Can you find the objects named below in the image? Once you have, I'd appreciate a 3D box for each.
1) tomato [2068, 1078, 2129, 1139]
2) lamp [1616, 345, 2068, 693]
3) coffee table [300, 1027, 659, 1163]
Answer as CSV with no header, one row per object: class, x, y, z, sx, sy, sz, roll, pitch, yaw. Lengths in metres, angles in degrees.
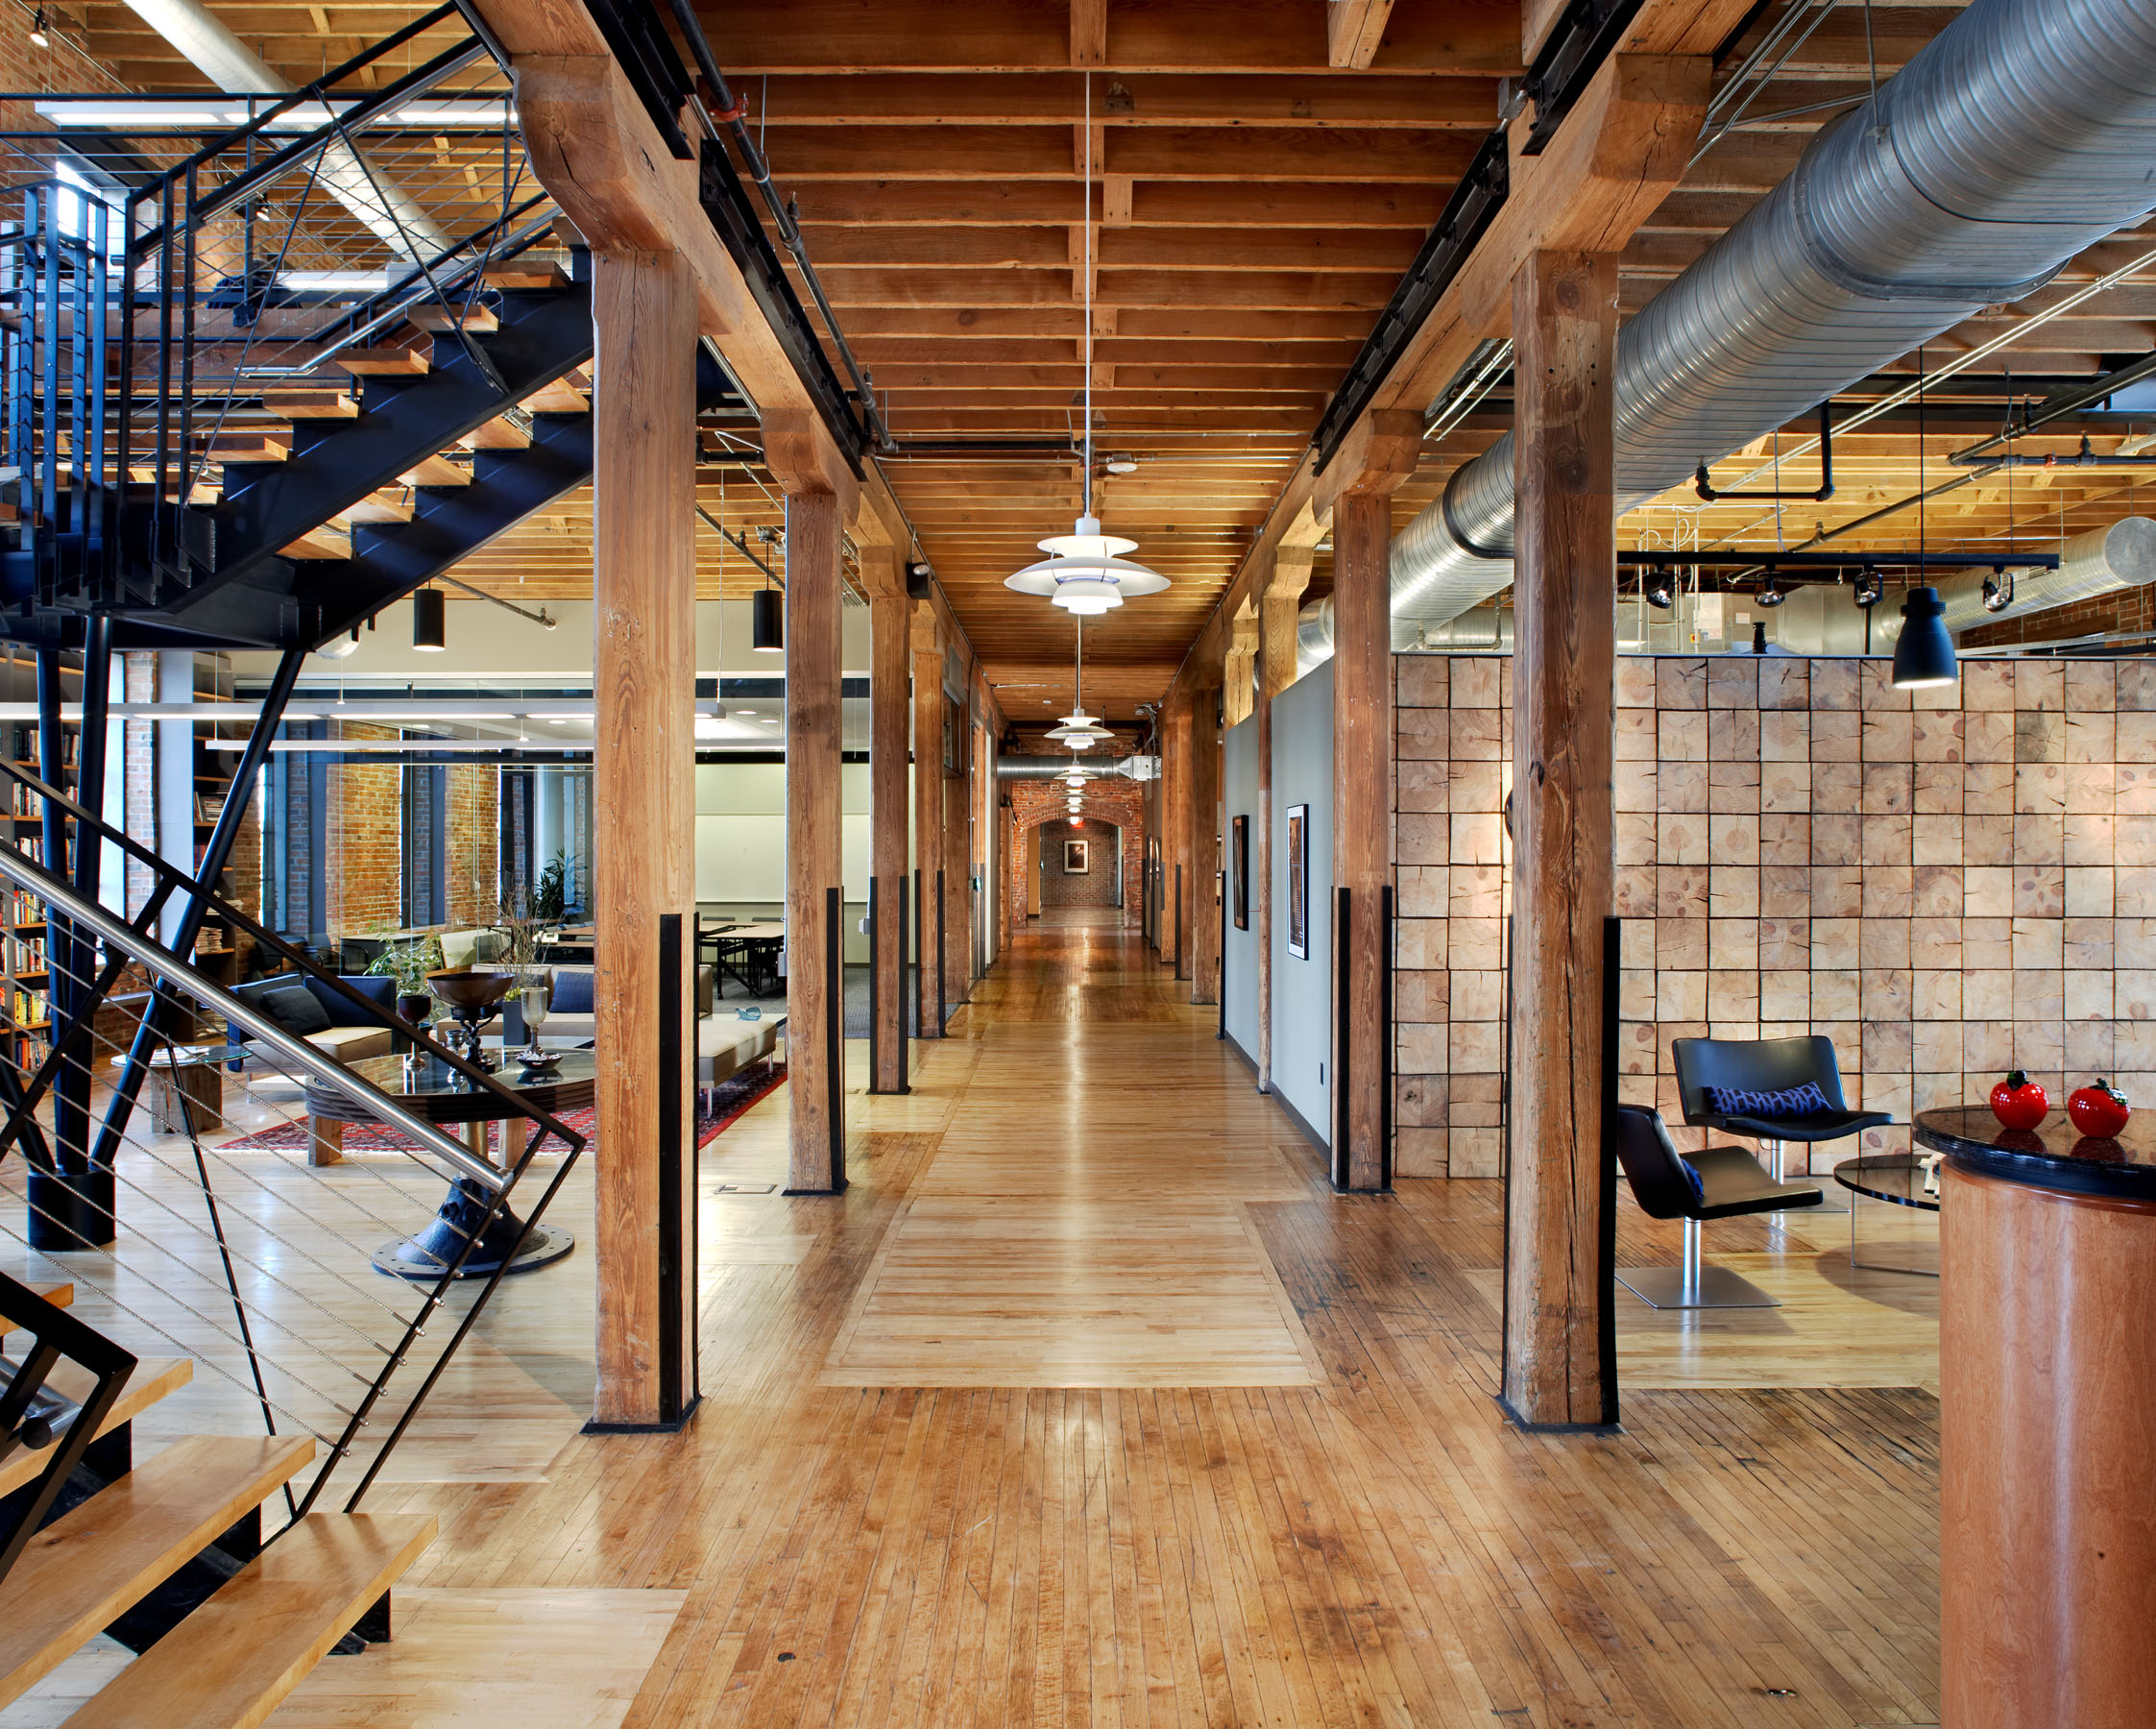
tomato,2.389,0.571,4.230,0.133,0.146,0.132,-3,-6,19
lamp,4.931,-2.607,11.786,2.020,0.762,2.915,-1,-1,9
coffee table,-2.344,0.902,7.086,1.045,0.318,1.012,0,-2,0
